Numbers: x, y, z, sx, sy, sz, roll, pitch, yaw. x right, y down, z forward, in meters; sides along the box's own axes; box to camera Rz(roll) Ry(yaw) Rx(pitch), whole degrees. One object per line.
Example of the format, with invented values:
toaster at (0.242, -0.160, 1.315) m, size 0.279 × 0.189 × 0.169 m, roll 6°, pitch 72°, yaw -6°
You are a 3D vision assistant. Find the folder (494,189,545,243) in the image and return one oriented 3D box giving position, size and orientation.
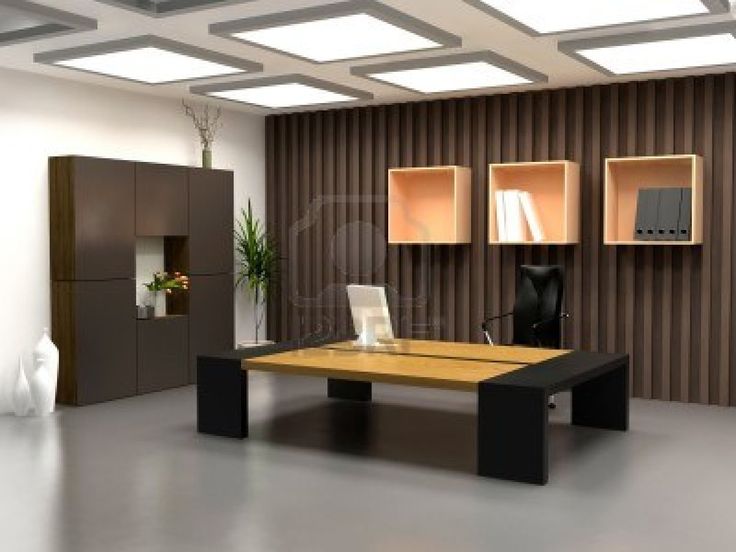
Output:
folder at (1.708, -0.669, 6.645) m, size 0.527 × 0.598 × 0.330 m, roll 0°, pitch 2°, yaw 17°

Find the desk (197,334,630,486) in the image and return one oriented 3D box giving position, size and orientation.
desk at (0.334, 0.928, 4.855) m, size 3.634 × 0.871 × 1.586 m, roll 0°, pitch 2°, yaw 14°

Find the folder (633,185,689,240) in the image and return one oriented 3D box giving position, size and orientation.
folder at (2.977, -0.626, 5.932) m, size 0.528 × 0.546 × 0.260 m, roll -2°, pitch -5°, yaw 33°

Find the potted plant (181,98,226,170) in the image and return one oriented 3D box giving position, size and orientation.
potted plant at (-2.151, -1.806, 7.618) m, size 0.361 × 0.868 × 0.577 m, roll 0°, pitch 2°, yaw 3°

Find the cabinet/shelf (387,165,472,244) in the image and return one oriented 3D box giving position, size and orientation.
cabinet/shelf at (0.578, -0.663, 5.496) m, size 0.338 × 0.894 × 1.000 m, roll -1°, pitch 0°, yaw 31°

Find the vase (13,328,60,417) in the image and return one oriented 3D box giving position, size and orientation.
vase at (-3.268, 0.936, 5.790) m, size 0.389 × 0.802 × 0.579 m, roll -1°, pitch 2°, yaw -28°

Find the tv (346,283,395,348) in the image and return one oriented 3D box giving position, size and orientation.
tv at (0.019, 0.307, 4.594) m, size 0.346 × 0.489 × 0.165 m, roll 0°, pitch 2°, yaw 4°

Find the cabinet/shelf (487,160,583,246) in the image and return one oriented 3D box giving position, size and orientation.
cabinet/shelf at (1.903, -0.801, 6.601) m, size 0.913 × 0.893 × 0.491 m, roll -1°, pitch -3°, yaw 25°

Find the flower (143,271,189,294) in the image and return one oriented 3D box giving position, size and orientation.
flower at (-2.392, 0.082, 6.921) m, size 0.410 × 0.264 × 0.383 m, roll 1°, pitch 2°, yaw 40°

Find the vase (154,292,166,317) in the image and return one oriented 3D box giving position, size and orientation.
vase at (-2.496, 0.330, 7.020) m, size 0.107 × 0.284 × 0.198 m, roll 0°, pitch 2°, yaw -1°

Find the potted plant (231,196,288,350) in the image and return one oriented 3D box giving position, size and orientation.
potted plant at (-1.540, -0.067, 7.971) m, size 0.547 × 2.017 × 0.929 m, roll -1°, pitch 2°, yaw -14°
